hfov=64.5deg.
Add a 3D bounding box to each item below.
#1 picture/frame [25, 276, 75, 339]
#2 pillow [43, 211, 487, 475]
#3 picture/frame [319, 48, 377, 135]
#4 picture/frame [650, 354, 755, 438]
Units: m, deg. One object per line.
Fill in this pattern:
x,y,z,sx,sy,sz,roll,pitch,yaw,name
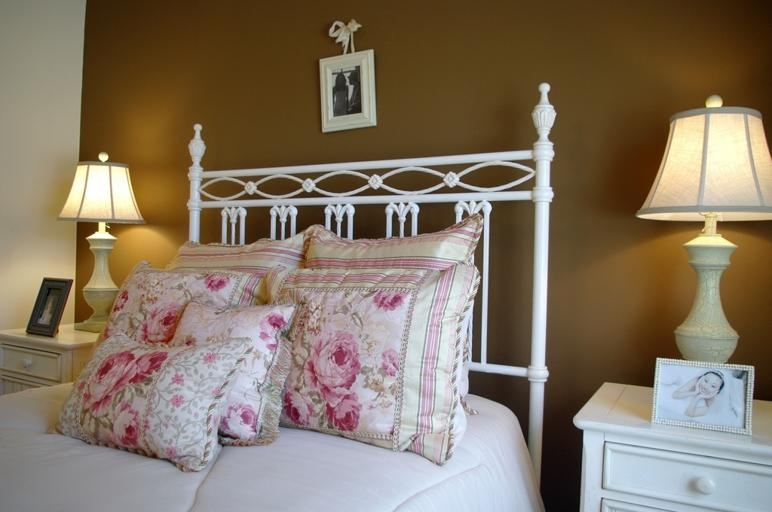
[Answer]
-2.065,0.311,3.730,0.338,0.410,0.042,1,-22,27,picture/frame
-0.422,0.278,2.494,1.571,0.960,0.806,2,1,8,pillow
-0.192,-0.880,3.266,0.462,0.518,0.045,0,1,30,picture/frame
1.165,0.528,2.258,0.268,0.227,0.019,2,-5,20,picture/frame
